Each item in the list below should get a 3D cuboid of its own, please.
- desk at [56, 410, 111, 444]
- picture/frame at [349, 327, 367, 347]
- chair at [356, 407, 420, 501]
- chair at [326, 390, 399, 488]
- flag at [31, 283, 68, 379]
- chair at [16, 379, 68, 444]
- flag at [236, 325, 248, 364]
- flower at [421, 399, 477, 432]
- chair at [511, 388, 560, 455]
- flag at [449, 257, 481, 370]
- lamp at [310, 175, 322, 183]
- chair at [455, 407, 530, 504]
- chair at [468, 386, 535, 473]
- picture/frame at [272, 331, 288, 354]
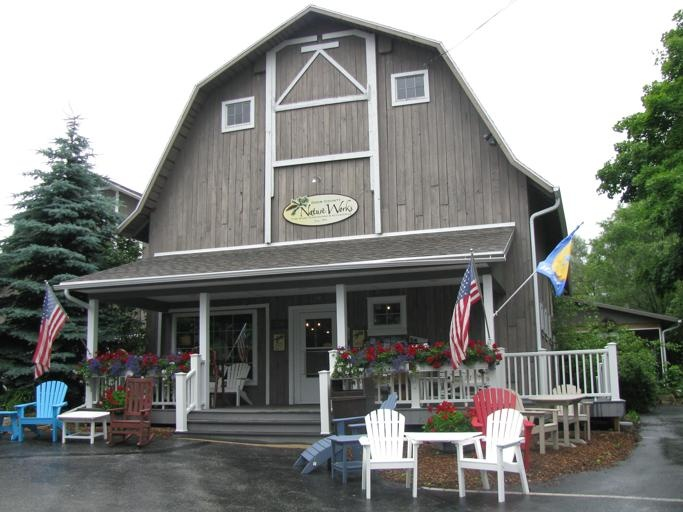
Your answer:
[{"bbox_3d":[-5.779,3.806,14.686,1.023,0.761,2.151,5,-15,-19],"label":"desk"},{"bbox_3d":[0.424,2.142,17.146,0.480,0.567,0.076,0,-17,3],"label":"picture/frame"},{"bbox_3d":[0.719,2.927,9.722,0.931,1.161,0.969,-5,-13,19],"label":"chair"},{"bbox_3d":[0.182,3.079,11.030,1.282,1.413,1.061,1,-11,-11],"label":"chair"},{"bbox_3d":[-6.935,1.698,15.602,0.565,2.316,1.114,6,-14,-24],"label":"flag"},{"bbox_3d":[-6.745,3.500,14.808,1.054,1.314,1.178,2,-8,-21],"label":"chair"},{"bbox_3d":[-2.746,2.378,18.038,0.266,1.102,0.412,-3,-13,14],"label":"flag"},{"bbox_3d":[1.914,2.930,11.738,0.612,0.545,0.628,1,-5,3],"label":"flower"},{"bbox_3d":[3.604,3.060,12.065,0.835,0.900,0.947,4,-9,-9],"label":"chair"},{"bbox_3d":[2.414,1.052,12.858,0.599,2.184,1.389,-2,-13,10],"label":"flag"},{"bbox_3d":[-0.709,-2.076,17.978,0.175,0.175,0.218,-9,-18,43],"label":"lamp"},{"bbox_3d":[2.139,2.875,9.476,0.981,1.152,0.999,-5,-9,19],"label":"chair"},{"bbox_3d":[2.796,2.988,11.415,0.907,1.114,1.213,-2,-26,19],"label":"chair"},{"bbox_3d":[-1.693,2.384,17.889,0.547,0.698,0.090,-3,-17,12],"label":"picture/frame"}]
